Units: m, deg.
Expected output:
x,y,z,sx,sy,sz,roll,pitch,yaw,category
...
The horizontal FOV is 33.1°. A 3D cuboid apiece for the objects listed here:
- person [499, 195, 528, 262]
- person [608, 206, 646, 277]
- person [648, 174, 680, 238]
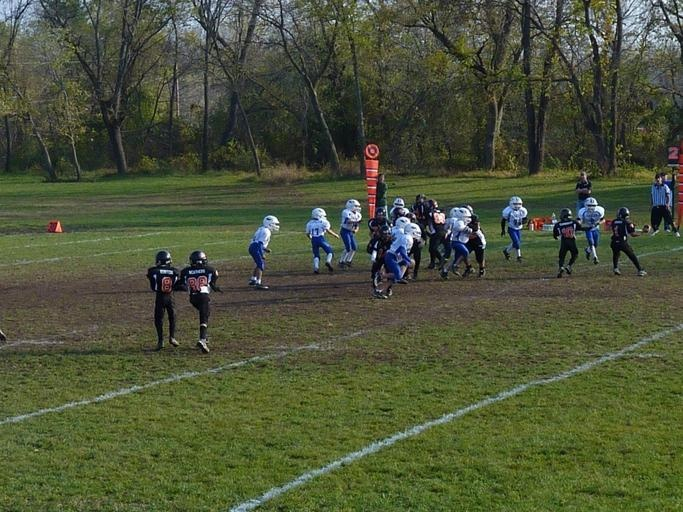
x,y,z,sx,sy,sz,roll,pitch,yaw,category
5.969,-0.851,39.173,0.933,2.206,1.463,-3,7,-16,person
9.138,-0.564,36.851,1.164,2.323,0.983,1,12,-2,person
12.227,-1.982,43.730,0.835,2.632,1.024,-14,19,-42,person
